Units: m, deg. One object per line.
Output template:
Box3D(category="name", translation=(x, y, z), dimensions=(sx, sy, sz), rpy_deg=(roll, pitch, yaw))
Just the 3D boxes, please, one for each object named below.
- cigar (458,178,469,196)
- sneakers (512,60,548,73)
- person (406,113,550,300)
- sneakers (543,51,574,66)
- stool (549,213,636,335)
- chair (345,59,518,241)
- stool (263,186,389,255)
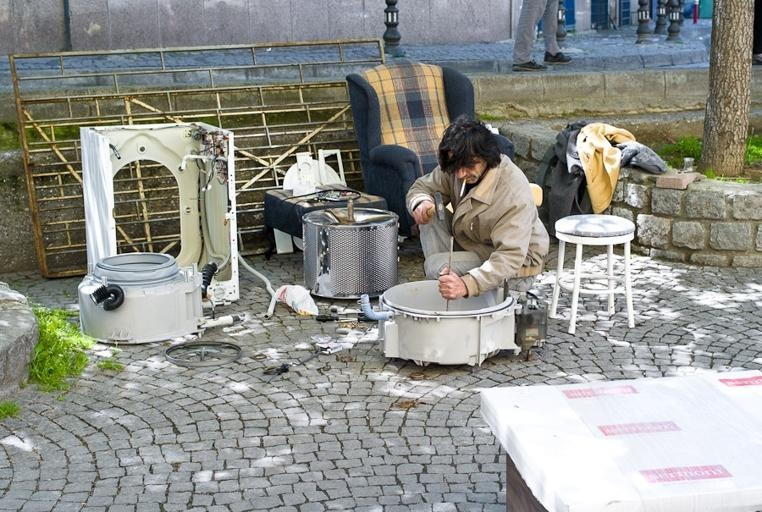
Box3D(category="cigar", translation=(0.634, -0.535, 6.382), dimensions=(0.029, 0.130, 0.039), rpy_deg=(18, -9, -8))
Box3D(category="sneakers", translation=(2.132, -2.749, 12.010), dimensions=(0.526, 0.188, 0.174), rpy_deg=(-1, 12, -3))
Box3D(category="person", translation=(0.642, -0.332, 6.215), dimensions=(1.096, 1.376, 1.037), rpy_deg=(2, 18, 16))
Box3D(category="sneakers", translation=(2.699, -3.041, 12.785), dimensions=(0.511, 0.197, 0.177), rpy_deg=(-1, 16, 1))
Box3D(category="stool", translation=(1.770, 0.138, 6.921), dimensions=(0.765, 0.763, 0.736), rpy_deg=(2, 10, 19))
Box3D(category="chair", translation=(0.559, -1.193, 8.796), dimensions=(1.811, 1.588, 1.647), rpy_deg=(-3, 20, -1))
Box3D(category="stool", translation=(-0.522, -0.404, 8.254), dimensions=(0.991, 0.536, 0.868), rpy_deg=(-5, 13, -28))
